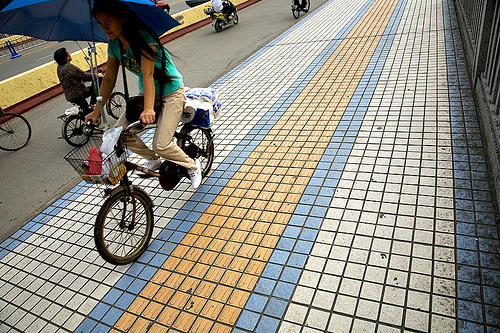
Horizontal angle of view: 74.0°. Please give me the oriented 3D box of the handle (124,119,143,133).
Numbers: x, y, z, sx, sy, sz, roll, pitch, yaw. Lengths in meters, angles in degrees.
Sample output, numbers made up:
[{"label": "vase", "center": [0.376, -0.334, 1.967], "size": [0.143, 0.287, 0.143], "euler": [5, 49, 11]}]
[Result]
[{"label": "handle", "center": [-1.474, -0.523, 4.231], "size": [0.077, 0.038, 0.278], "euler": [-26, 19, 46]}]

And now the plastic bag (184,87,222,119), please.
[{"label": "plastic bag", "center": [-0.733, -0.961, 5.155], "size": [0.494, 0.151, 0.485], "euler": [6, 50, -3]}]

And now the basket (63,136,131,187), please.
[{"label": "basket", "center": [-1.762, -0.090, 3.998], "size": [0.748, 0.471, 0.529], "euler": [-6, 44, 10]}]

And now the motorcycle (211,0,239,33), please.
[{"label": "motorcycle", "center": [-1.217, -6.748, 15.180], "size": [0.619, 1.118, 1.694], "euler": [11, 48, 26]}]
